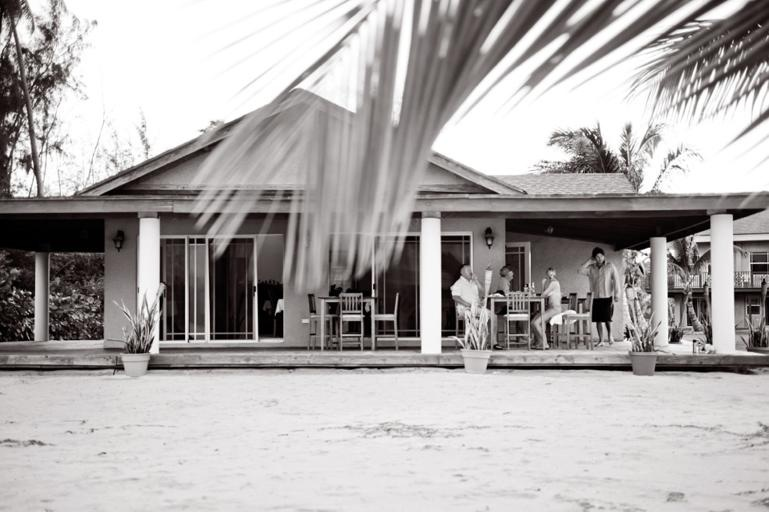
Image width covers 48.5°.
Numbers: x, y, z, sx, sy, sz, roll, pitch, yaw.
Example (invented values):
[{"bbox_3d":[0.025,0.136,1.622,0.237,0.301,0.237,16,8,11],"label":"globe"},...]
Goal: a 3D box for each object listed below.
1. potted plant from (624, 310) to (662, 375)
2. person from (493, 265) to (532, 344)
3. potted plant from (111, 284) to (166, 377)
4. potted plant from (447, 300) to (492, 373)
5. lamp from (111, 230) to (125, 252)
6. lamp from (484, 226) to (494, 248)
[{"bbox_3d":[3.465,1.173,11.390,0.375,0.803,0.869,-2,-7,17],"label":"potted plant"},{"bbox_3d":[1.865,0.765,13.431,0.370,1.317,0.344,6,6,25],"label":"person"},{"bbox_3d":[-3.281,1.022,11.677,0.809,1.182,0.674,-6,-13,7],"label":"potted plant"},{"bbox_3d":[1.300,1.126,11.725,0.763,1.107,0.752,-1,-1,26],"label":"potted plant"},{"bbox_3d":[-4.297,-0.277,13.753,0.198,0.352,0.223,2,-7,-14],"label":"lamp"},{"bbox_3d":[1.725,-0.330,13.971,0.173,0.356,0.177,0,-7,7],"label":"lamp"}]
